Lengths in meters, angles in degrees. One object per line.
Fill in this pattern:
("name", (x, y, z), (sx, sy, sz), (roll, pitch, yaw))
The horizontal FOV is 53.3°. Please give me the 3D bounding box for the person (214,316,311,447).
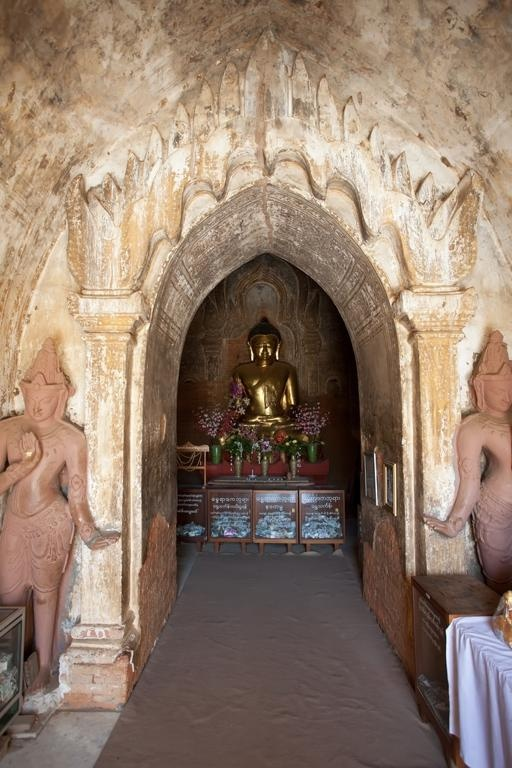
("person", (0.100, -0.059, 6.335), (0.841, 1.681, 0.762), (-1, -4, 3))
